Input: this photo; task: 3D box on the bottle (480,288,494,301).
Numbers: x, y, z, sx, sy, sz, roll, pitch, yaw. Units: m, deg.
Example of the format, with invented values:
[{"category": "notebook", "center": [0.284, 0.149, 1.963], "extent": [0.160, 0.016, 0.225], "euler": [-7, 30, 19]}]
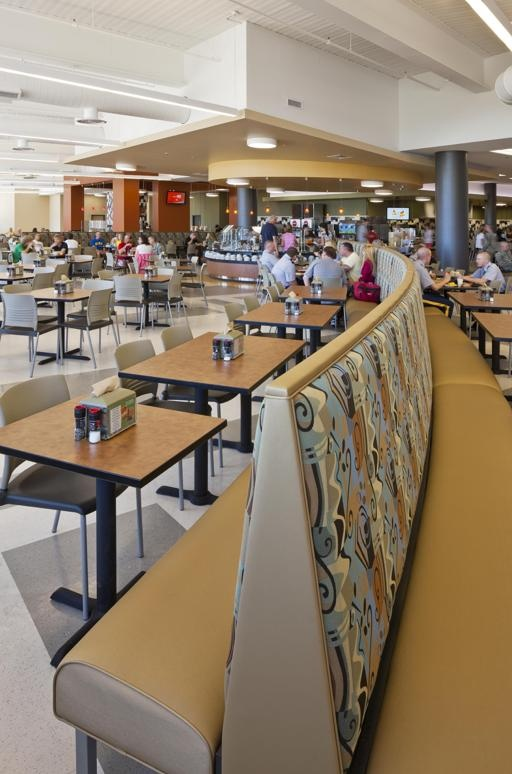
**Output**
[{"category": "bottle", "center": [2.616, -1.060, 5.973], "extent": [0.124, 0.142, 0.136], "euler": [1, 12, 22]}]

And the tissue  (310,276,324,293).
[{"category": "tissue ", "center": [0.758, -1.277, 6.523], "extent": [0.133, 0.290, 0.195], "euler": [1, 4, 3]}]

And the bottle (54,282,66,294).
[{"category": "bottle", "center": [-2.189, -1.120, 5.953], "extent": [0.117, 0.137, 0.128], "euler": [2, 8, 17]}]

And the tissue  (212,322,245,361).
[{"category": "tissue ", "center": [-0.168, -0.257, 3.074], "extent": [0.115, 0.192, 0.214], "euler": [5, 17, 16]}]

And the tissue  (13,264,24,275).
[{"category": "tissue ", "center": [-3.625, -1.775, 8.015], "extent": [0.192, 0.138, 0.202], "euler": [-4, 13, -26]}]

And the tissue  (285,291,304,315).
[{"category": "tissue ", "center": [0.356, -0.767, 4.776], "extent": [0.170, 0.280, 0.189], "euler": [2, 12, 16]}]

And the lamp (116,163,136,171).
[{"category": "lamp", "center": [-4.002, -6.770, 16.258], "extent": [0.546, 0.194, 1.517], "euler": [-6, 13, -10]}]
